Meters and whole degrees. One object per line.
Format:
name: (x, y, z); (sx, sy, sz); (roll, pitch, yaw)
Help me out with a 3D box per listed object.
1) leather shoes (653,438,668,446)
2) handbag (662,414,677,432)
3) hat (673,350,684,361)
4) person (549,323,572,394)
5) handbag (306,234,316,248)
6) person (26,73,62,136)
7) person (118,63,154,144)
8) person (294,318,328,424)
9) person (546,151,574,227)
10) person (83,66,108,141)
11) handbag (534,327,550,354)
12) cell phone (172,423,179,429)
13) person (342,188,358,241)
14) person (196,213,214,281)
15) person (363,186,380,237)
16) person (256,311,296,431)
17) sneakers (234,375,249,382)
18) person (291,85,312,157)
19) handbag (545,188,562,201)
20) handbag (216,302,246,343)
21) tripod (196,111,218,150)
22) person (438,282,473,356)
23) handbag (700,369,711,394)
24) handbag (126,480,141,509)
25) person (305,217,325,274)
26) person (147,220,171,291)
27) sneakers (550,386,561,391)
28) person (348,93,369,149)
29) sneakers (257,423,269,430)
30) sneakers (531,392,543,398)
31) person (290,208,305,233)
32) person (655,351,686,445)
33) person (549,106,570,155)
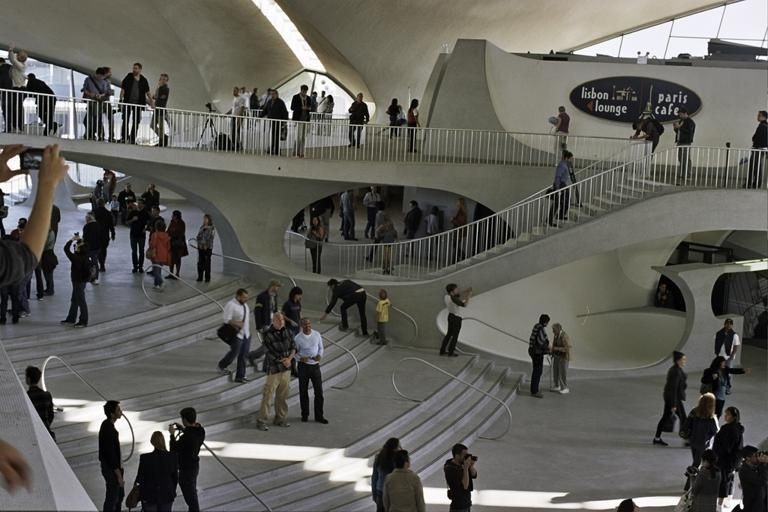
leather shoes: (6.086, 4.138, 16.370); (0.349, 0.172, 0.127); (-3, 12, 3)
handbag: (6.301, 3.744, 16.243); (0.166, 0.375, 0.519); (12, 28, 29)
hat: (6.330, 2.204, 15.858); (0.187, 0.207, 0.335); (3, 9, 23)
person: (4.517, 2.584, 18.857); (0.445, 1.957, 1.322); (2, 8, 14)
handbag: (-2.237, -0.412, 22.931); (0.344, 0.367, 0.442); (-1, 8, -7)
person: (-8.946, -4.019, 19.489); (0.724, 1.633, 0.647); (-4, 8, -25)
person: (-6.801, -4.209, 20.281); (0.778, 2.164, 1.100); (-3, 8, -20)
person: (-1.494, 2.375, 15.269); (0.643, 2.327, 0.808); (-1, 8, -5)
person: (4.778, -1.830, 19.957); (0.600, 2.031, 0.880); (2, 8, 14)
person: (-7.626, -4.003, 19.720); (0.655, 1.766, 1.505); (-3, 9, -22)
handbag: (3.896, 2.136, 18.259); (0.267, 0.561, 0.549); (-5, 17, -8)
cell phone: (-3.523, 2.952, 12.591); (0.108, 0.059, 0.162); (4, 1, -10)
person: (-1.350, -1.594, 28.840); (0.528, 1.903, 1.105); (-1, 8, -5)
person: (-4.977, -0.218, 20.731); (0.502, 1.957, 1.331); (-2, 8, -14)
person: (-0.407, -1.718, 28.638); (0.682, 2.095, 0.696); (3, -6, -16)
person: (-2.189, 2.324, 15.061); (0.824, 2.448, 0.792); (-2, 8, -11)
sneakers: (-3.086, 2.736, 16.158); (0.271, 0.130, 0.124); (-1, 18, -4)
person: (-2.428, -3.983, 21.797); (0.539, 2.086, 1.207); (-1, 8, -7)
handbag: (4.609, -1.696, 20.210); (0.355, 0.371, 0.471); (-5, 10, -16)
handbag: (-3.230, 1.425, 15.563); (0.450, 0.821, 0.833); (-10, -20, 7)
tripod: (-5.085, -3.642, 21.378); (0.640, 1.012, 0.552); (-3, 8, -19)
person: (1.922, 1.690, 19.847); (0.810, 2.054, 1.404); (1, 8, 7)
handbag: (7.133, 2.849, 16.329); (0.220, 0.629, 0.752); (3, 9, 23)
handbag: (-4.058, 3.971, 11.997); (0.229, 0.501, 0.374); (-3, 9, -22)
person: (-2.161, -0.320, 23.226); (0.550, 1.840, 1.432); (-1, 8, -5)
person: (-5.816, -0.012, 19.182); (0.543, 1.870, 0.707); (-2, 8, -16)
sneakers: (4.428, 3.444, 18.977); (0.277, 0.192, 0.097); (-9, 0, 38)
person: (-0.747, -4.182, 22.605); (0.564, 1.671, 1.477); (-1, 8, -2)
sneakers: (-2.455, 3.473, 15.067); (0.212, 0.167, 0.137); (6, 12, 19)
sneakers: (3.865, 3.530, 18.540); (0.196, 0.089, 0.111); (-3, 21, 9)
person: (-3.437, -1.356, 29.473); (0.473, 0.833, 1.571); (-1, 9, -2)
person: (6.353, 3.119, 16.350); (0.640, 2.167, 1.020); (3, 8, 24)
person: (5.259, -3.817, 22.121); (0.514, 1.367, 1.485); (2, 8, 15)
